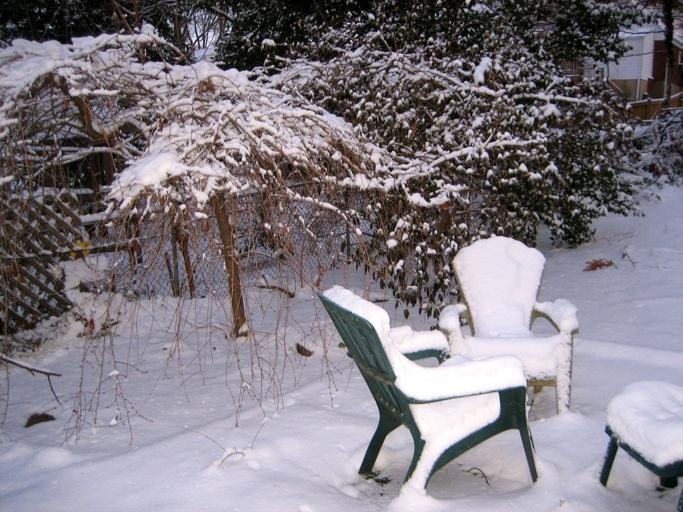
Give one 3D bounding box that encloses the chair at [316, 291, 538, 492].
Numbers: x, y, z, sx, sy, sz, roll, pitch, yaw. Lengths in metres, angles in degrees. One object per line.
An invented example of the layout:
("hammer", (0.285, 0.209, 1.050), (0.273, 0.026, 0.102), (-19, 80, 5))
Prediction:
("chair", (0.682, 0.985, 4.652), (1.451, 1.533, 1.299), (-8, 8, -27))
